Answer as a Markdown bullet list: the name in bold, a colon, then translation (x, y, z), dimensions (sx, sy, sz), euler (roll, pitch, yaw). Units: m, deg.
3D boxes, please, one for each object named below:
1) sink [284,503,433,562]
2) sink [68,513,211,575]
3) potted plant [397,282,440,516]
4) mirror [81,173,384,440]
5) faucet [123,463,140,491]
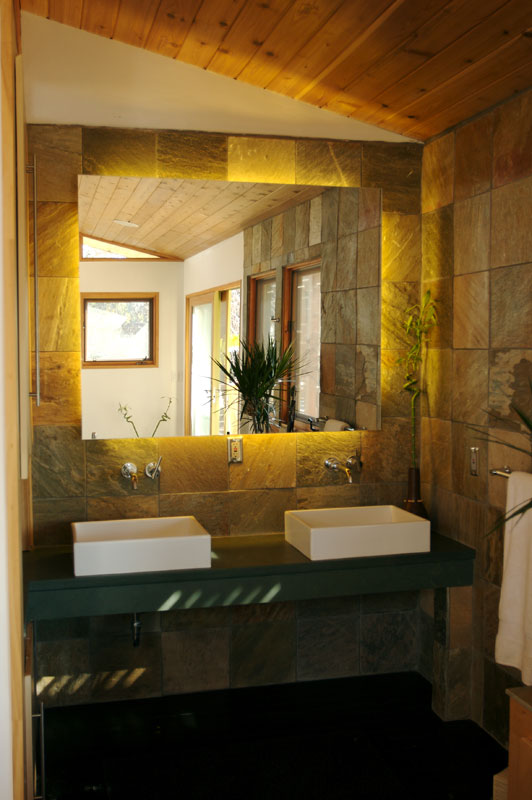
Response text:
- **sink**: translation (0.360, 0.527, 2.466), dimensions (0.517, 0.139, 0.429), euler (0, 1, -15)
- **sink**: translation (-0.462, 0.525, 2.237), dimensions (0.471, 0.169, 0.407), euler (0, 1, -17)
- **potted plant**: translation (0.686, -0.086, 2.761), dimensions (0.172, 0.678, 0.146), euler (0, 0, 24)
- **mirror**: translation (-0.187, -0.405, 2.538), dimensions (1.014, 1.139, 0.092), euler (-1, 4, -8)
- **faucet**: translation (-0.534, 0.312, 2.465), dimensions (0.058, 0.100, 0.029), euler (-20, 3, -18)
